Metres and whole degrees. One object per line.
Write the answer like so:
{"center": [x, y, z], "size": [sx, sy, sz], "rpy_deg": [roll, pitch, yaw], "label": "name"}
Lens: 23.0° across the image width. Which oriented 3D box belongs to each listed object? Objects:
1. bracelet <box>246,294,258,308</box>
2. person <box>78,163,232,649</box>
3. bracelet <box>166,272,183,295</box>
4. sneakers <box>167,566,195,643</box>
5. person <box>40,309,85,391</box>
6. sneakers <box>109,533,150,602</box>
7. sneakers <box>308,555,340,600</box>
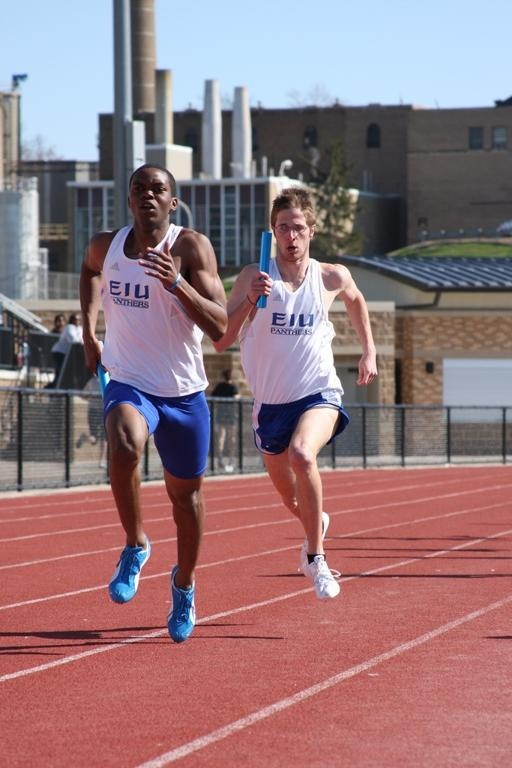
{"center": [-0.022, -0.369, 5.662], "size": [0.042, 0.053, 0.051], "rpy_deg": [1, -1, -15], "label": "bracelet"}
{"center": [-0.407, 0.111, 5.088], "size": [0.571, 1.981, 0.937], "rpy_deg": [-1, 5, -8], "label": "person"}
{"center": [-0.300, -0.370, 4.639], "size": [0.025, 0.068, 0.057], "rpy_deg": [26, 32, 12], "label": "bracelet"}
{"center": [-0.311, 0.902, 5.149], "size": [0.091, 0.308, 0.113], "rpy_deg": [1, -14, -8], "label": "sneakers"}
{"center": [-3.552, -0.548, 22.952], "size": [0.648, 0.625, 1.811], "rpy_deg": [4, -39, -25], "label": "person"}
{"center": [-0.513, 0.727, 5.137], "size": [0.101, 0.320, 0.129], "rpy_deg": [16, -34, 0], "label": "sneakers"}
{"center": [0.315, 0.835, 5.528], "size": [0.097, 0.138, 0.309], "rpy_deg": [-11, 18, -8], "label": "sneakers"}
